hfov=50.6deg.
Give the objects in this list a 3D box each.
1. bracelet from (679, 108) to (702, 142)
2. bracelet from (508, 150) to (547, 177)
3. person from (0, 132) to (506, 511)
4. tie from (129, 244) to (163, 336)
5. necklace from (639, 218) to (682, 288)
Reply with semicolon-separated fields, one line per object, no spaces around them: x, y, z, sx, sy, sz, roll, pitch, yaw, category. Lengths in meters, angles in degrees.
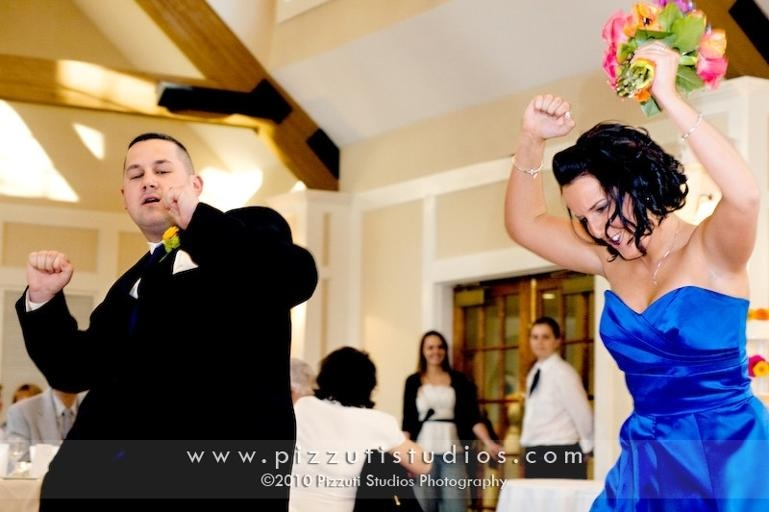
0.822;-0.348;2.145;0.019;0.069;0.058;27;15;-33;bracelet
0.437;-0.263;2.522;0.115;0.116;0.063;6;-53;-2;bracelet
-0.698;0.167;2.525;0.922;1.214;0.487;-4;-17;19;person
-0.746;0.095;2.532;0.062;0.262;0.158;25;-22;-15;tie
0.834;-0.011;2.442;0.048;0.188;0.115;17;-22;-39;necklace
